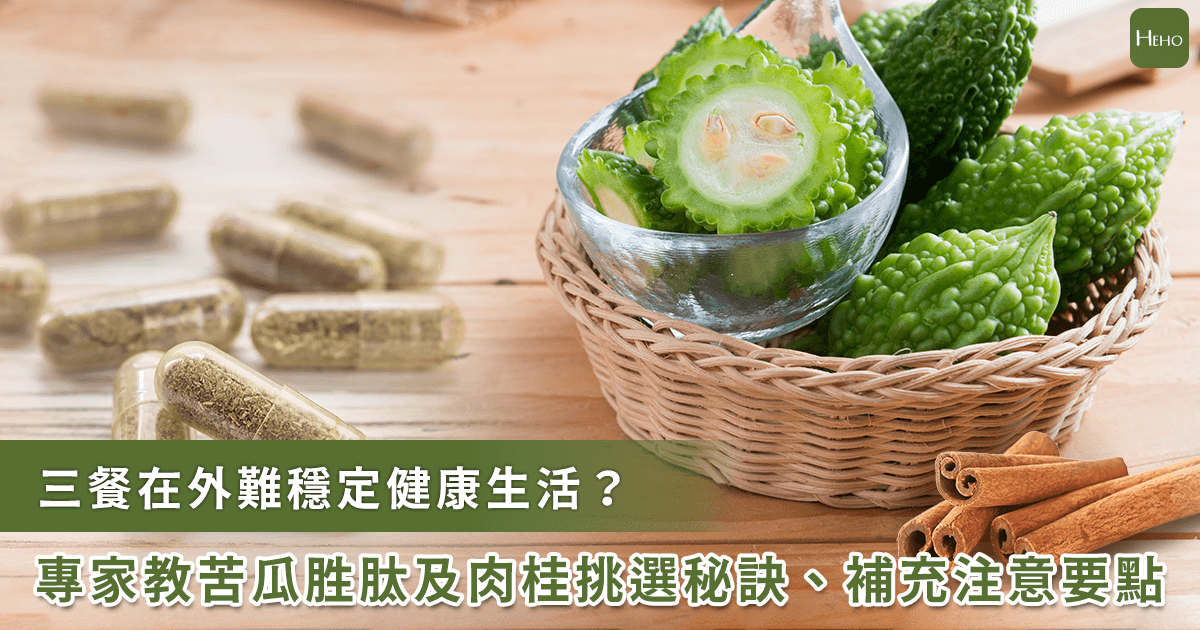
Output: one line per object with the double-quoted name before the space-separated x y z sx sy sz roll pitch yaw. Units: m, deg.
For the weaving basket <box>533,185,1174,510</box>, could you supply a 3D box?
"weaving basket" 0.430 0.083 1.950 0.587 0.146 0.529 -12 22 -33
